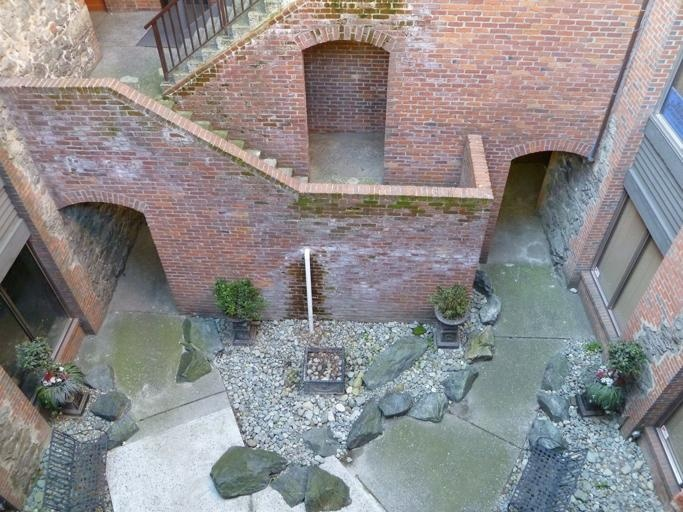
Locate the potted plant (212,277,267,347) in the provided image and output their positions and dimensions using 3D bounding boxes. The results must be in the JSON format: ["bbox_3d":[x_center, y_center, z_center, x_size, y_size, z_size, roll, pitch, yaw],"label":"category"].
[{"bbox_3d":[-2.284,1.257,11.043,0.707,0.892,1.176,-5,82,-8],"label":"potted plant"}]

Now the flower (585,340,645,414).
[{"bbox_3d":[5.299,2.400,9.729,0.582,1.219,0.725,17,54,14],"label":"flower"}]

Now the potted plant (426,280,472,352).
[{"bbox_3d":[2.320,1.318,10.964,1.081,1.794,1.004,-2,54,6],"label":"potted plant"}]

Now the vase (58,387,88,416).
[{"bbox_3d":[-5.325,2.979,10.153,0.480,0.317,0.521,6,61,-4],"label":"vase"}]
